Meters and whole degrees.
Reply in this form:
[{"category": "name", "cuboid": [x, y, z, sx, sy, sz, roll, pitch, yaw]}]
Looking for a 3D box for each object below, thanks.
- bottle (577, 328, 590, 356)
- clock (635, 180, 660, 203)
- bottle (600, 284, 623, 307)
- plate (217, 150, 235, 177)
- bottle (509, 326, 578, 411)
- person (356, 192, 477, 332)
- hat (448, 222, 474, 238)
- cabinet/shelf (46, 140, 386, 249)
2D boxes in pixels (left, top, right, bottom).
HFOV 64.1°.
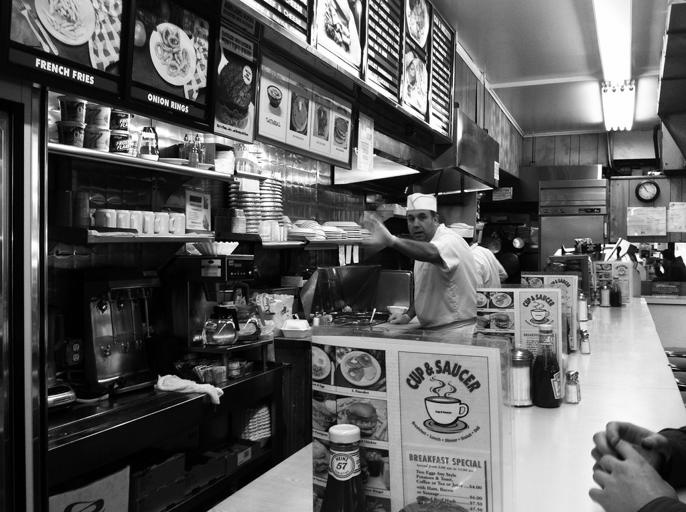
[{"category": "bottle", "cuboid": [1.279, 0.453, 2.916, 0.048, 0.140, 0.131, -3, 0, 24]}, {"category": "clock", "cuboid": [4.837, -1.020, 8.696, 0.293, 0.370, 0.058, 10, 0, 38]}, {"category": "bottle", "cuboid": [2.586, 0.386, 5.387, 0.224, 0.263, 0.170, 4, -5, 12]}, {"category": "plate", "cuboid": [-0.793, -0.603, 3.651, 0.108, 0.195, 0.187, 5, 17, 11]}, {"category": "bottle", "cuboid": [0.733, 0.418, 2.081, 0.183, 0.323, 0.093, -3, -1, 10]}, {"category": "person", "cuboid": [0.583, 0.011, 3.696, 0.608, 0.915, 1.188, -3, 0, 13]}, {"category": "hat", "cuboid": [1.268, -0.273, 5.806, 0.218, 0.120, 0.228, 2, 4, 24]}, {"category": "cabinet/shelf", "cuboid": [-0.714, -0.316, 3.878, 0.405, 0.441, 2.978, -3, 0, 30]}]
